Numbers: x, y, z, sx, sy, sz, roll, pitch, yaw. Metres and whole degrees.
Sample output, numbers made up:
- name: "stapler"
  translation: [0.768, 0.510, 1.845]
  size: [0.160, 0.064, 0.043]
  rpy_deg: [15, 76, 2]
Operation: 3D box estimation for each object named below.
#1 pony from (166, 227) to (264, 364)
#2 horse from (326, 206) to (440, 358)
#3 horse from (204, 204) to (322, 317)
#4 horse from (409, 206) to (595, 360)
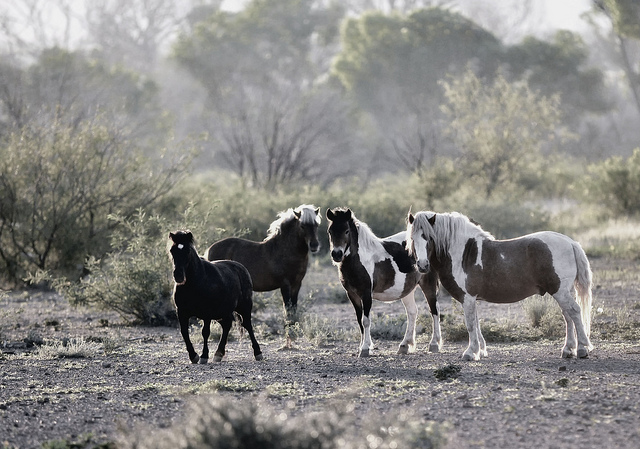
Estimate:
- name: "pony"
  translation: [-3.877, 2.421, 38.292]
  size: [2.806, 4.486, 1.008]
  rpy_deg: [0, -3, -15]
- name: "horse"
  translation: [2.351, 2.214, 39.991]
  size: [1.739, 4.898, 6.468]
  rpy_deg: [-5, -7, 44]
- name: "horse"
  translation: [-2.137, 1.728, 41.183]
  size: [5.787, 4.491, 1.523]
  rpy_deg: [-9, 2, 36]
- name: "horse"
  translation: [6.251, 2.069, 39.000]
  size: [6.173, 5.796, 2.255]
  rpy_deg: [-1, 7, 8]
